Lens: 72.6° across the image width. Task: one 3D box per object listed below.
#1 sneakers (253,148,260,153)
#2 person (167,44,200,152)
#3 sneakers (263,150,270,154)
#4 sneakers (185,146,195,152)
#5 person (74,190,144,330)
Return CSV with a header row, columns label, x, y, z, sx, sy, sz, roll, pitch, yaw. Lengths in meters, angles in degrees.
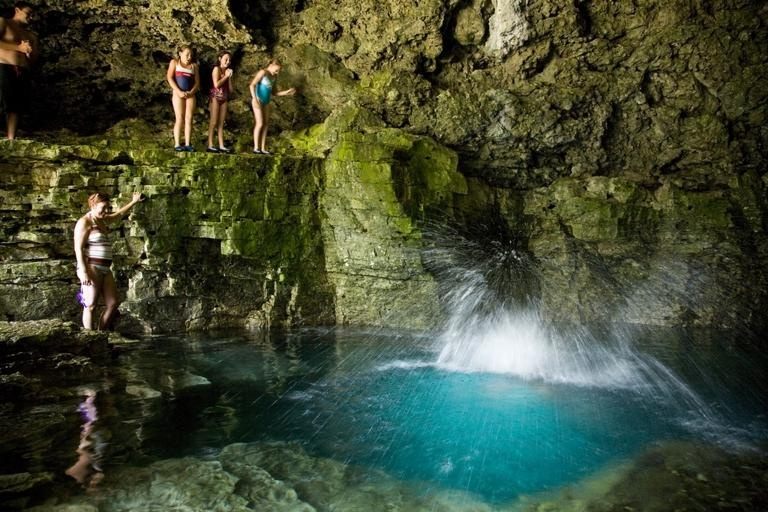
label,x,y,z,sx,sy,sz,roll,pitch,yaw
sneakers,-2.743,-2.293,11.331,0.092,0.100,0.248,-1,10,-41
person,-4.090,-3.275,10.677,0.545,2.375,0.957,2,-4,-21
sneakers,-2.530,-2.268,11.353,0.167,0.075,0.330,-3,16,-15
sneakers,-3.911,-2.176,10.572,0.287,0.105,0.095,4,12,26
person,-4.946,0.083,9.169,0.588,2.385,0.842,-2,-5,34
